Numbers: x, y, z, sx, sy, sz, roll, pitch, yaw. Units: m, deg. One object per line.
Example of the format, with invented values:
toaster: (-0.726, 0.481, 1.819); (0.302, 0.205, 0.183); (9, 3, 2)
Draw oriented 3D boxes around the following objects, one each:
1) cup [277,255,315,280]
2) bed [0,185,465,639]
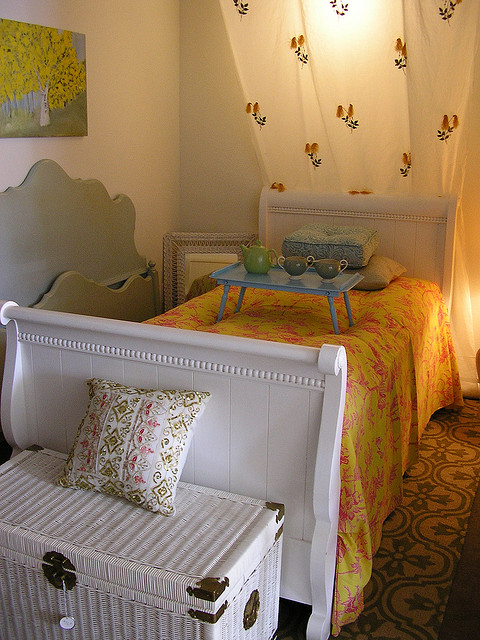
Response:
cup: (0.217, -0.216, 2.081); (0.154, 0.093, 0.098); (1, 3, 20)
bed: (0.217, 0.231, 2.170); (1.479, 1.222, 1.874); (6, 16, 24)
